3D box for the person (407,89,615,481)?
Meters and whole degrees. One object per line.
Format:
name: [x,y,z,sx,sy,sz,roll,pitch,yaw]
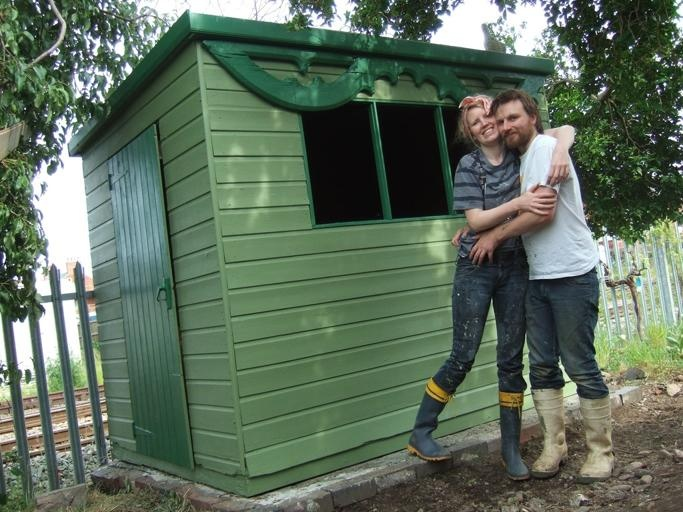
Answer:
person: [1.531,0.208,3.943,0.769,3.073,0.517,-7,-2,29]
